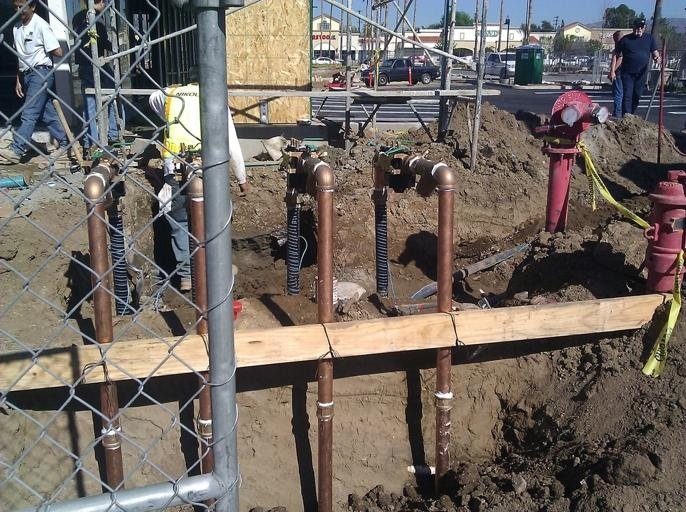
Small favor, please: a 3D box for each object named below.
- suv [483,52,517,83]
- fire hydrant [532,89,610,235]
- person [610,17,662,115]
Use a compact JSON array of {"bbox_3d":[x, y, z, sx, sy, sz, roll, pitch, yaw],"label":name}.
[{"bbox_3d":[7.582,-9.212,35.471,1.381,1.259,5.043,5,17,10],"label":"suv"},{"bbox_3d":[2.195,-0.902,7.230,0.633,1.405,0.566,6,16,14],"label":"fire hydrant"},{"bbox_3d":[4.829,-3.118,12.140,0.768,1.558,0.696,-6,18,-27],"label":"person"}]
